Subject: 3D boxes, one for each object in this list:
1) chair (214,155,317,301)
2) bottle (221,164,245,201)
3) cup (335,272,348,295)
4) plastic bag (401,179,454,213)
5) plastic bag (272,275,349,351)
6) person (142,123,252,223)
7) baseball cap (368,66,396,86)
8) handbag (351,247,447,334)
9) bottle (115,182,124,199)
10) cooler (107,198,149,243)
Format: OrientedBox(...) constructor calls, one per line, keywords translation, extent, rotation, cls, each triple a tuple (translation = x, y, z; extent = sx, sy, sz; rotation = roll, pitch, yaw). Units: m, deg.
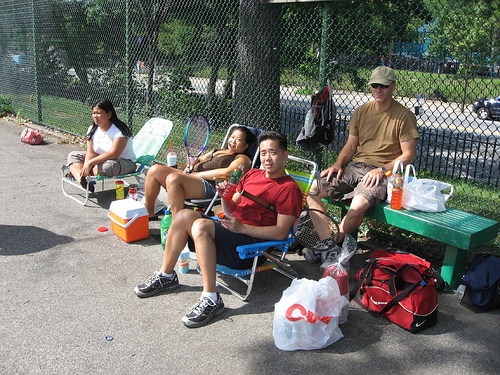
OrientedBox(translation=(0.092, 0.357, 4.756), extent=(1.148, 1.312, 0.827), rotation=(-10, 22, -41), cls="chair")
OrientedBox(translation=(-0.183, -0.056, 4.365), extent=(0.202, 0.409, 0.217), rotation=(3, 16, -1), cls="bottle")
OrientedBox(translation=(0.863, 0.904, 4.129), extent=(0.118, 0.180, 0.118), rotation=(3, 16, -1), cls="cup")
OrientedBox(translation=(1.942, 0.060, 4.859), extent=(0.450, 0.379, 0.475), rotation=(2, 13, -33), cls="plastic bag")
OrientedBox(translation=(0.519, 1.081, 3.879), extent=(0.590, 0.449, 0.505), rotation=(-12, 14, -26), cls="plastic bag")
OrientedBox(translation=(-0.561, -0.307, 5.924), extent=(1.566, 1.252, 0.917), rotation=(-14, 15, -39), cls="person")
OrientedBox(translation=(1.551, -1.313, 5.087), extent=(0.192, 0.154, 0.278), rotation=(12, 20, 36), cls="baseball cap")
OrientedBox(translation=(1.415, 0.984, 4.344), extent=(0.570, 0.652, 0.865), rotation=(6, 1, -27), cls="handbag")
OrientedBox(translation=(-1.968, 0.039, 6.595), extent=(0.103, 0.267, 0.068), rotation=(-5, 17, -29), cls="bottle")
OrientedBox(translation=(-1.577, 0.425, 5.686), extent=(0.426, 0.449, 0.581), rotation=(-9, 17, -33), cls="cooler")
